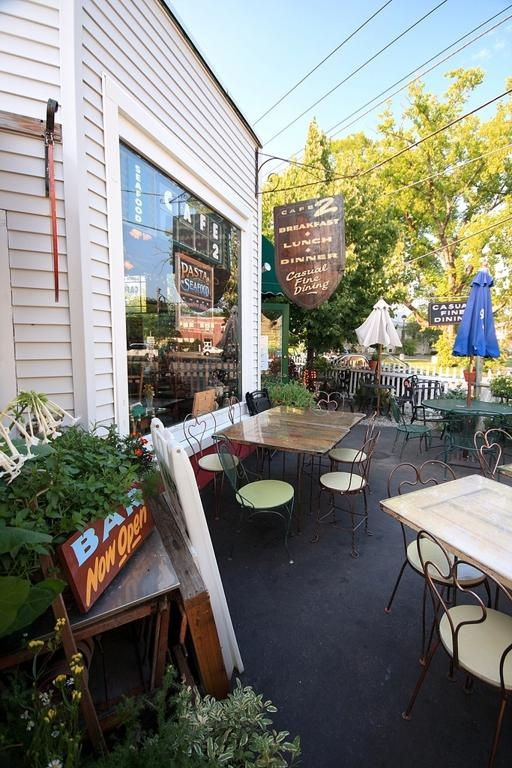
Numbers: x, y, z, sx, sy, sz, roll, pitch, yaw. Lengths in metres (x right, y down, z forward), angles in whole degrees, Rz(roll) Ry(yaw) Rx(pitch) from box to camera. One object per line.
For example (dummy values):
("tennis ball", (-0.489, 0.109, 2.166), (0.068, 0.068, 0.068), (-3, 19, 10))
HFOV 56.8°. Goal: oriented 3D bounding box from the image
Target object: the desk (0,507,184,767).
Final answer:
("desk", (-0.426, 0.734, 1.673), (0.489, 0.699, 0.706), (3, 20, 15))
